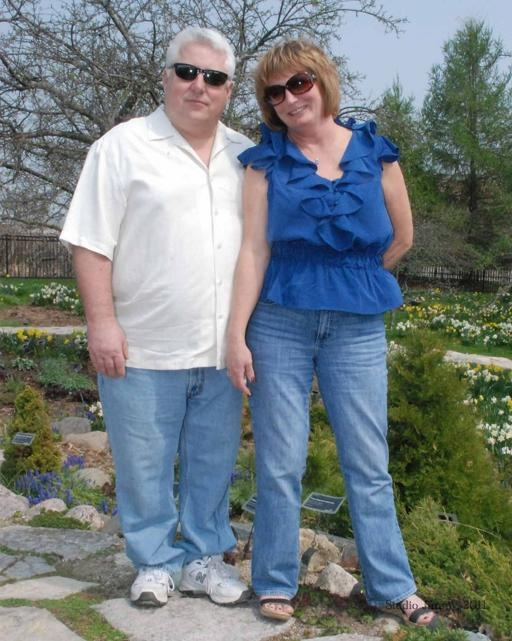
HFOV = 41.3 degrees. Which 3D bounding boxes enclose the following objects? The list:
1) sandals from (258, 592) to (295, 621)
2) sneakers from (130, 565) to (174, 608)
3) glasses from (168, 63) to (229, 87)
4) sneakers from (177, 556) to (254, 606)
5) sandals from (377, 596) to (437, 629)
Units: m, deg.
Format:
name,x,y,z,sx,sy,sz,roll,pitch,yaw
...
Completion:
name,x,y,z,sx,sy,sz,roll,pitch,yaw
sandals,0.075,1.123,2.709,0.143,0.103,0.219,0,2,1
sneakers,-0.421,1.091,2.809,0.136,0.149,0.236,0,2,13
glasses,-0.235,-1.003,2.782,0.220,0.102,0.065,-1,2,-7
sneakers,-0.175,1.093,2.887,0.392,0.166,0.194,-5,-7,43
sandals,0.589,1.127,2.651,0.219,0.052,0.086,-5,6,44
